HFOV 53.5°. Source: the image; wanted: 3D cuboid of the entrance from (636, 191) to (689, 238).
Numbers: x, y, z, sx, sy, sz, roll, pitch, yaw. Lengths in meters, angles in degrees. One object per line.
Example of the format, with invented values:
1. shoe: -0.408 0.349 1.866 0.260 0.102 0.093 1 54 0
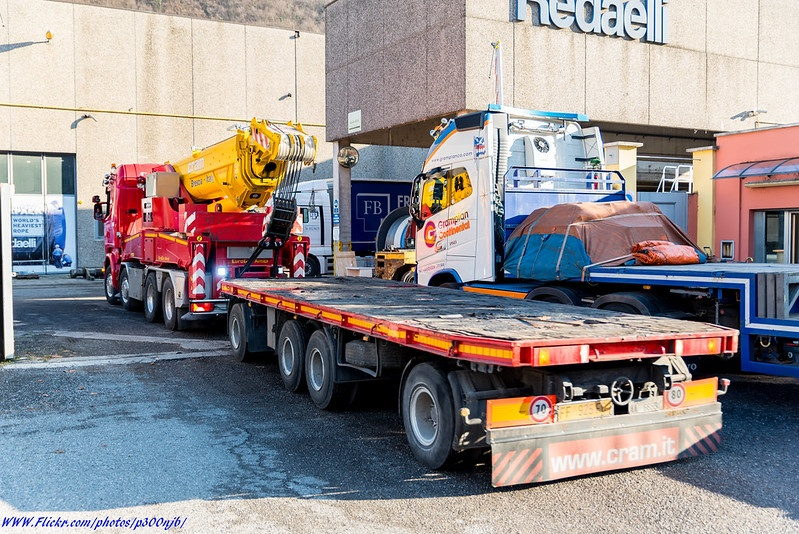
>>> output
1. entrance: 6.013 -1.242 17.995 1.521 1.729 0.111 -5 10 -26

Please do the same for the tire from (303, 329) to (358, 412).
1. tire: -1.001 1.593 12.177 0.471 1.506 1.190 1 -1 -31

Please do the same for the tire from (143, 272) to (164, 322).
1. tire: -5.961 0.753 19.457 0.318 1.131 1.055 0 29 -36

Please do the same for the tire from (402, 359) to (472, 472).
1. tire: 0.441 1.954 10.418 0.353 1.382 1.042 -8 15 -28

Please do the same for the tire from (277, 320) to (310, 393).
1. tire: -1.703 1.476 13.095 0.335 1.280 1.071 0 -2 -22

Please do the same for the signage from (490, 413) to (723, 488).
1. signage: 2.588 2.121 10.182 0.046 0.923 3.478 11 -20 -44

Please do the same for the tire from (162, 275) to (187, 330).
1. tire: -5.027 0.791 17.922 0.354 1.229 1.089 2 -2 -32
